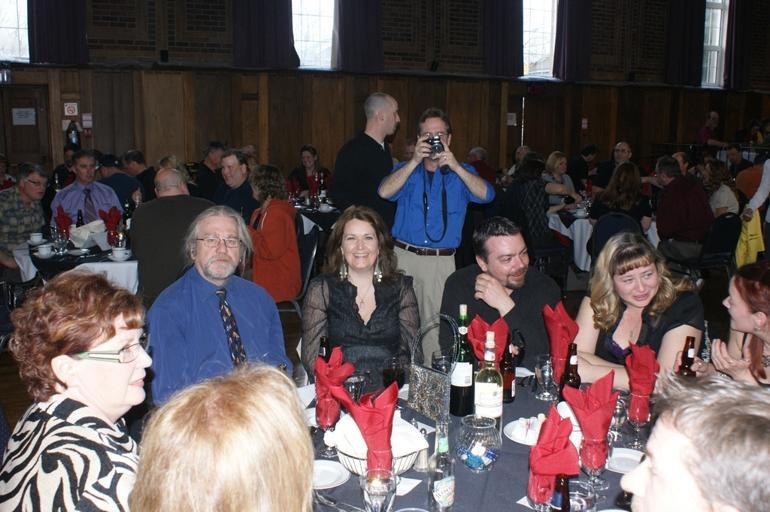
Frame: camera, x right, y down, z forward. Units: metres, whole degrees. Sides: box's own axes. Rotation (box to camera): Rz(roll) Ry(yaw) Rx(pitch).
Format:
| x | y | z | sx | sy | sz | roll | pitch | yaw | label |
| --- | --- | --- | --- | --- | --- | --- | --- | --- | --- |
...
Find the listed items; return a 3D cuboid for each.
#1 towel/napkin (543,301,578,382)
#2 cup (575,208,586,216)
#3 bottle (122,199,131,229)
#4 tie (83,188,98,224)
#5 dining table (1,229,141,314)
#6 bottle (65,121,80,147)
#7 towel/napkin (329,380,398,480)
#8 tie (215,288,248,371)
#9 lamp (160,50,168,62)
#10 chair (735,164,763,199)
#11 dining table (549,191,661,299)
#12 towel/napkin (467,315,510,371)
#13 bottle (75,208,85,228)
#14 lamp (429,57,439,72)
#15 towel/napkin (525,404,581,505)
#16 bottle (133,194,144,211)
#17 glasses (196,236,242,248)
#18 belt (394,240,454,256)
| x | y | z | sx | sy | sz | roll | pitch | yaw | label |
| --- | --- | --- | --- | --- | --- | --- | --- | --- | --- |
| 0.797 | 0.393 | 2.907 | 0.128 | 0.341 | 0.201 | 3 | 5 | 34 | towel/napkin |
| 2.131 | -0.482 | 6.901 | 0.085 | 0.068 | 0.086 | 1 | -1 | 0 | cup |
| -2.488 | -0.426 | 6.102 | 0.101 | 0.276 | 0.970 | -2 | 4 | -22 | bottle |
| -2.814 | -0.492 | 6.003 | 0.112 | 0.320 | 0.128 | -2 | 5 | -27 | tie |
| -2.544 | 0.068 | 4.921 | 1.111 | 0.426 | 2.131 | -2 | 4 | -23 | dining table |
| -4.270 | -1.694 | 8.606 | 0.187 | 0.309 | 0.096 | -3 | 5 | -29 | bottle |
| -0.057 | 0.612 | 2.318 | 0.203 | 0.309 | 0.292 | -2 | 5 | -28 | towel/napkin |
| -0.784 | 0.380 | 3.218 | 0.109 | 0.468 | 0.029 | -13 | -4 | -15 | tie |
| -3.082 | -2.770 | 8.783 | 0.115 | 0.166 | 0.097 | -2 | 5 | -27 | lamp |
| 4.860 | -0.998 | 8.468 | 0.293 | 0.449 | 0.625 | 2 | 5 | 28 | chair |
| 2.198 | -0.044 | 6.363 | 0.721 | 0.886 | 1.784 | 1 | 4 | 16 | dining table |
| 0.466 | 0.382 | 2.812 | 0.170 | 0.218 | 0.074 | 6 | -5 | -17 | towel/napkin |
| -2.803 | -0.359 | 5.791 | 0.066 | 0.156 | 0.421 | -2 | 4 | -25 | bottle |
| 0.778 | -3.066 | 10.224 | 0.147 | 0.196 | 0.215 | 0 | 4 | 4 | lamp |
| 0.585 | 0.698 | 2.217 | 0.169 | 0.321 | 0.165 | 1 | 4 | 13 | towel/napkin |
| -2.541 | -0.592 | 6.440 | 0.088 | 0.154 | 0.279 | -2 | 4 | -23 | bottle |
| -0.874 | -0.076 | 3.285 | 0.208 | 0.057 | 0.060 | -2 | 4 | -24 | glasses |
| 0.263 | -0.059 | 4.297 | 0.393 | 0.090 | 0.128 | 0 | 4 | -1 | belt |
